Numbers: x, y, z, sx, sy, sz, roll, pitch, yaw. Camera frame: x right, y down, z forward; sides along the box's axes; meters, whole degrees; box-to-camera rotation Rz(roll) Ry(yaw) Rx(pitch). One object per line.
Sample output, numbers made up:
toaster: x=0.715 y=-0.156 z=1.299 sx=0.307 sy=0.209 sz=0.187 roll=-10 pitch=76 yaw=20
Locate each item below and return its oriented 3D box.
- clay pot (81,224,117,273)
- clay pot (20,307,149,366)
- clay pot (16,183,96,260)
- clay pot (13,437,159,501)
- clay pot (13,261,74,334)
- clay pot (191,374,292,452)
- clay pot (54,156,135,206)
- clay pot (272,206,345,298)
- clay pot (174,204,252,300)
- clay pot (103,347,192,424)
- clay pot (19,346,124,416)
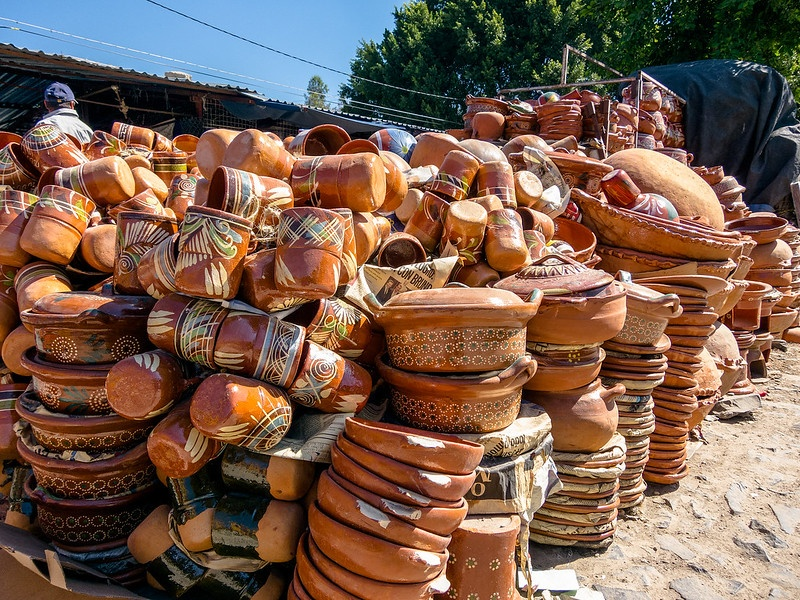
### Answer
clay pot: x=-1.610 y=-0.261 z=3.497 sx=0.261 sy=0.264 sz=0.177 roll=3 pitch=-3 yaw=-42
clay pot: x=-1.528 y=0.144 z=3.218 sx=0.612 sy=0.255 sz=0.701 roll=-2 pitch=3 yaw=-17
clay pot: x=-1.868 y=-0.430 z=3.480 sx=0.229 sy=0.398 sz=0.297 roll=14 pitch=-1 yaw=12
clay pot: x=-1.590 y=0.868 z=3.260 sx=0.623 sy=0.232 sz=0.641 roll=-1 pitch=-11 yaw=0
clay pot: x=-1.765 y=-0.016 z=3.183 sx=0.277 sy=0.260 sz=0.398 roll=-3 pitch=37 yaw=-27
clay pot: x=-0.767 y=0.483 z=2.916 sx=0.407 sy=0.293 sz=0.405 roll=11 pitch=-6 yaw=1
clay pot: x=-1.720 y=-0.664 z=3.606 sx=0.321 sy=0.204 sz=0.200 roll=5 pitch=-36 yaw=5
clay pot: x=-0.363 y=-0.164 z=3.050 sx=0.379 sy=0.413 sz=0.354 roll=9 pitch=-19 yaw=3
clay pot: x=-0.845 y=-0.208 z=2.892 sx=0.331 sy=0.404 sz=0.179 roll=1 pitch=17 yaw=-14
clay pot: x=-1.124 y=0.387 z=3.007 sx=0.361 sy=0.256 sz=0.365 roll=15 pitch=-5 yaw=1
clay pot: x=-1.548 y=0.355 z=2.998 sx=0.318 sy=0.147 sz=0.329 roll=1 pitch=4 yaw=0
